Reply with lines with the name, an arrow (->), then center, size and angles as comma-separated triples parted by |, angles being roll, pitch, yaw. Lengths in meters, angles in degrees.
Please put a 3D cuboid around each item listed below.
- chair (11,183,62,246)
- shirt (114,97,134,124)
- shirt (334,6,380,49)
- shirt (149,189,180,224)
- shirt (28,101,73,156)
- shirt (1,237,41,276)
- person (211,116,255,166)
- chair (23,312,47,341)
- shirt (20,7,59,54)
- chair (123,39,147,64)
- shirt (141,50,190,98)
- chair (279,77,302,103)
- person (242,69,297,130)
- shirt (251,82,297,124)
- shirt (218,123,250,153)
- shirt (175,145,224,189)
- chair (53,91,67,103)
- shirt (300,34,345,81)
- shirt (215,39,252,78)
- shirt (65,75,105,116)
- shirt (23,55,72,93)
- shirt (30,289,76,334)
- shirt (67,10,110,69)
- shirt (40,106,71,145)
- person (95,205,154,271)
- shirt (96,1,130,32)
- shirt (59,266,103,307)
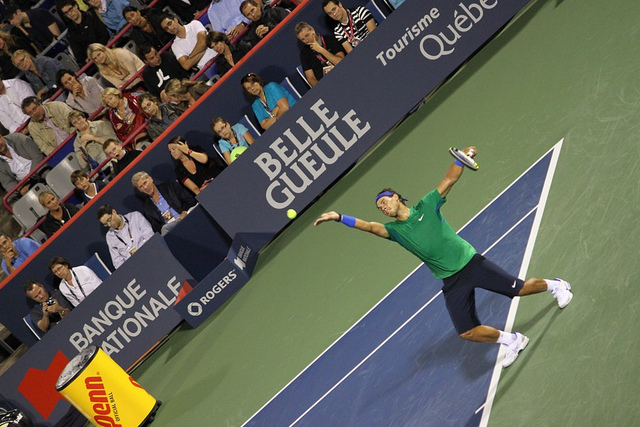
chair -> -5.826, 0.020, 14.446 | 0.639, 0.877, 0.539 | -43, -3, -22
shirt -> -4.026, -2.151, 14.484 | 0.330, 0.549, 0.217 | -16, 6, 16
shirt -> 0.699, -3.572, 13.454 | 0.609, 0.592, 0.348 | -37, 15, 20
shirt -> -3.062, -0.136, 13.758 | 0.365, 0.757, 0.135 | -31, 9, 14
shirt -> -5.762, -1.836, 14.926 | 0.656, 0.768, 0.432 | -43, 24, -1
shirt -> -6.155, 0.766, 14.311 | 0.801, 0.482, 0.400 | -38, 8, 11
person -> -1.757, -1.562, 13.664 | 0.709, 0.969, 0.272 | -36, 10, -5
chair -> -5.674, 2.261, 13.924 | 0.279, 0.489, 0.325 | -49, 27, -22
shirt -> -6.383, -4.132, 15.862 | 0.706, 0.866, 0.472 | -24, 30, 21
chair -> -4.000, -3.532, 15.005 | 0.283, 0.288, 0.486 | -35, 22, -9
shirt -> -3.314, -3.008, 14.911 | 1.352, 0.479, 1.475 | 1, -15, -3
chair -> -0.595, -2.417, 13.711 | 0.263, 0.436, 0.285 | -48, 21, 26
person -> -1.050, -2.336, 13.823 | 0.797, 1.140, 0.655 | -36, -3, 15
shirt -> -0.896, -2.145, 13.555 | 0.602, 0.477, 0.337 | -42, 13, 12
shirt -> -1.694, -1.449, 13.632 | 0.399, 0.433, 0.236 | -23, -7, -7
shirt -> -2.437, -0.976, 13.884 | 0.931, 0.426, 0.987 | 1, -15, -18
chair -> -5.602, -2.520, 15.084 | 0.225, 0.194, 0.114 | -67, 29, 22
shirt -> 0.055, -3.000, 13.420 | 0.640, 0.632, 0.328 | -36, 14, 4
shirt -> -1.774, -3.189, 14.276 | 0.773, 0.574, 0.239 | -46, -5, 8
shirt -> -5.040, -2.569, 15.065 | 0.696, 0.890, 0.334 | -51, 23, -8
shirt -> -5.974, -3.033, 15.279 | 0.558, 0.544, 0.399 | -39, 24, 26
shirt -> -5.362, 1.954, 14.070 | 0.810, 0.887, 0.264 | -43, -5, 11
shirt -> -5.254, -4.021, 15.633 | 0.924, 0.523, 1.378 | -13, 23, 25
shirt -> -5.670, -1.857, 14.866 | 0.517, 0.662, 0.365 | -47, 11, -1
person -> -3.812, 0.462, 13.732 | 0.637, 1.060, 0.569 | -42, -8, 8
shirt -> -4.553, -4.371, 15.363 | 0.466, 0.508, 0.351 | -29, 23, 28
shirt -> -4.729, 1.476, 13.748 | 0.514, 0.491, 0.269 | -42, 8, 2
